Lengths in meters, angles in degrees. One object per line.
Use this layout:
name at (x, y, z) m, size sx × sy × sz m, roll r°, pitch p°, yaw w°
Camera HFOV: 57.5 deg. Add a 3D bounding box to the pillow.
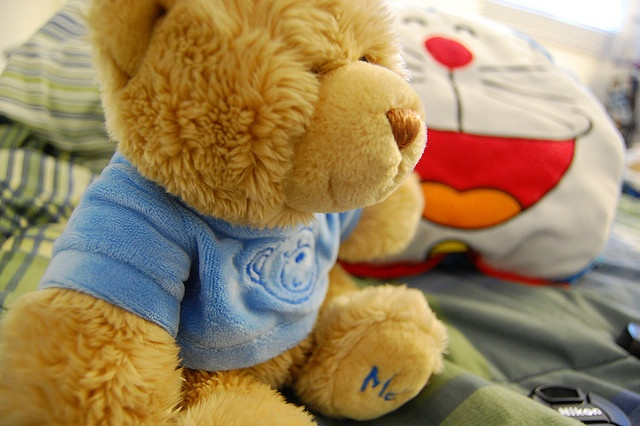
pillow at (0.274, -0.101, 1.320) m, size 0.550 × 0.238 × 0.550 m, roll 24°, pitch 76°, yaw -2°
